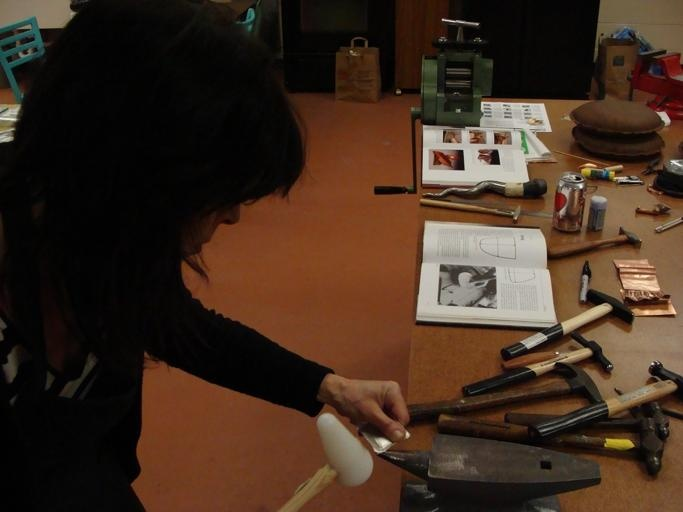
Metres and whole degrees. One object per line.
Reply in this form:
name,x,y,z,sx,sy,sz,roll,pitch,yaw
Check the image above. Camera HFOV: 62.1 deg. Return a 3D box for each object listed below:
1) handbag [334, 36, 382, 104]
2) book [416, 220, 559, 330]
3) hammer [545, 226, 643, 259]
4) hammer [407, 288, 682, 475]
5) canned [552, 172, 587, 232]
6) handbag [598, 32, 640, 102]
handbag,0.155,-1.704,5.152,0.458,0.720,0.287,2,49,6
book,0.462,0.038,1.840,0.400,0.066,0.492,1,35,10
hammer,0.851,-0.036,1.913,0.311,0.060,0.133,-13,34,-8
hammer,0.530,0.334,1.460,0.348,0.046,0.362,-8,38,-3
canned,0.805,-0.187,1.999,0.125,0.175,0.137,5,24,14
handbag,2.389,-1.552,4.749,0.314,0.471,0.339,11,16,24
